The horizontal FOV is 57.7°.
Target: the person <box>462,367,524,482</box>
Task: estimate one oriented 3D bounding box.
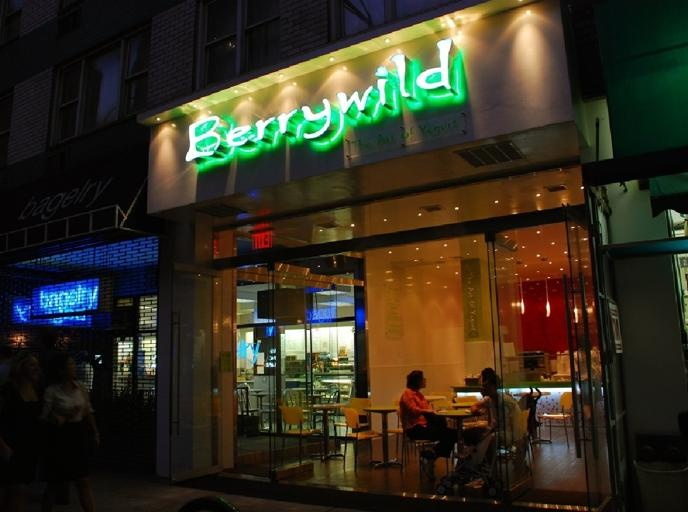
[{"bbox_3d":[1.993,2.268,8.385,0.769,1.364,0.575,4,1,19],"label":"person"}]

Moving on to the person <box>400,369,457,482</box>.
[{"bbox_3d":[1.296,2.618,9.828,0.853,1.589,0.864,-4,-12,3],"label":"person"}]
